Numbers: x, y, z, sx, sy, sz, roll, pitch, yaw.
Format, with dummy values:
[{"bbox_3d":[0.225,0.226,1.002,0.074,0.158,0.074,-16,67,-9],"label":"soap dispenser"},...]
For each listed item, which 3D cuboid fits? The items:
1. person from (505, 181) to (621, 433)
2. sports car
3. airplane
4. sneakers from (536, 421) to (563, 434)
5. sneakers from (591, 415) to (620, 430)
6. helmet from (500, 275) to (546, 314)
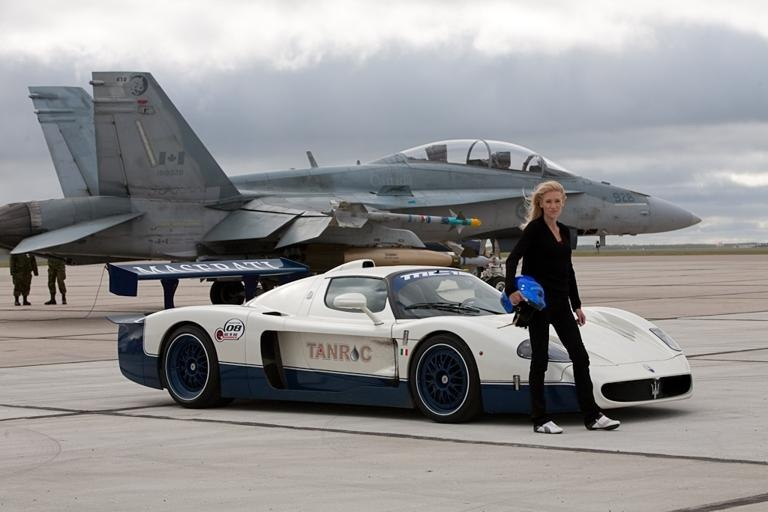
[{"bbox_3d":[1.621,0.467,7.188,0.918,2.336,0.795,-4,7,12],"label":"person"},{"bbox_3d":[-0.083,0.969,8.172,4.697,0.904,2.251,-3,-2,17],"label":"sports car"},{"bbox_3d":[-0.909,-1.447,19.960,14.476,2.822,8.925,0,1,-17],"label":"airplane"},{"bbox_3d":[1.496,1.559,7.017,0.237,0.064,0.105,-1,0,15],"label":"sneakers"},{"bbox_3d":[1.992,1.526,7.011,0.343,0.105,0.105,-2,-1,13],"label":"sneakers"},{"bbox_3d":[1.334,0.332,7.068,0.255,0.304,0.335,-3,5,9],"label":"helmet"}]
